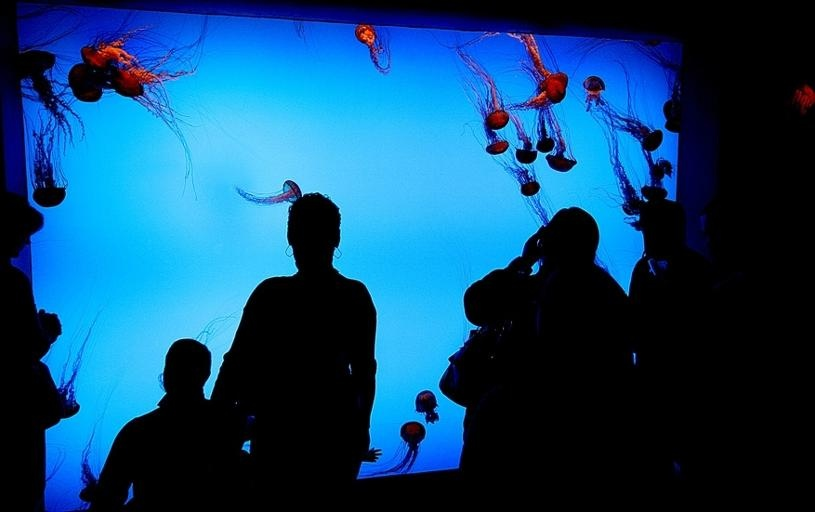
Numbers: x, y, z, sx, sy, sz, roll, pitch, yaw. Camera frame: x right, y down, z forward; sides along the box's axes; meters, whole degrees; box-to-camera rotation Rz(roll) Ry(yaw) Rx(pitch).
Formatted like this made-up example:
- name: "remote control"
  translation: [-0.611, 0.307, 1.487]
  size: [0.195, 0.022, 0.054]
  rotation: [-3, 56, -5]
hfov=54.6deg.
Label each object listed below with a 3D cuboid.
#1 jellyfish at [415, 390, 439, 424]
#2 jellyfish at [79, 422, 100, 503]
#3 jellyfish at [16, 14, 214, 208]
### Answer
- name: "jellyfish"
  translation: [0.117, 0.977, 5.167]
  size: [0.165, 0.201, 0.103]
  rotation: [-10, 11, -11]
- name: "jellyfish"
  translation: [-1.945, 1.278, 4.825]
  size: [0.108, 0.456, 0.336]
  rotation: [6, -24, -21]
- name: "jellyfish"
  translation: [-1.901, -0.931, 5.171]
  size: [0.738, 1.123, 0.989]
  rotation: [-4, 10, -16]
